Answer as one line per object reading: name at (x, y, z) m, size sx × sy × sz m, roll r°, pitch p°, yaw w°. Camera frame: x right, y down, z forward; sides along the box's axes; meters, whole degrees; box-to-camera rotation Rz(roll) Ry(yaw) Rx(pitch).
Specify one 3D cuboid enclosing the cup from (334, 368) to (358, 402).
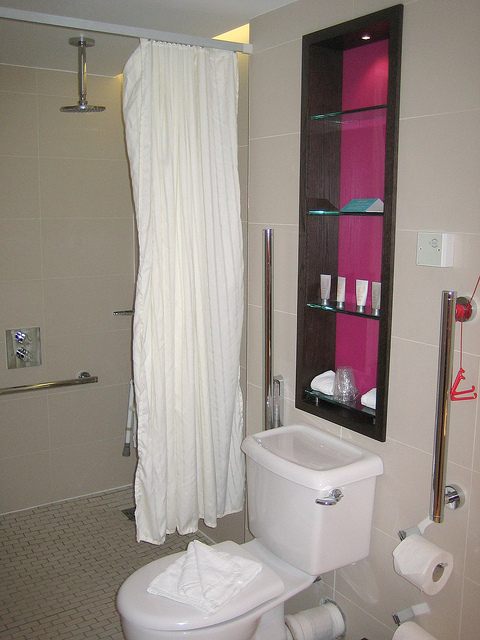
cup at (0.332, 0.201, 1.594) m, size 0.072 × 0.111 × 0.050 m, roll 4°, pitch 7°, yaw 15°

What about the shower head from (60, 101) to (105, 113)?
shower head at (-0.590, -0.792, 1.898) m, size 0.160 × 0.043 × 0.041 m, roll -1°, pitch 8°, yaw -23°

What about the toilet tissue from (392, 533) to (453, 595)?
toilet tissue at (0.458, 0.613, 1.279) m, size 0.114 × 0.123 × 0.123 m, roll -2°, pitch 9°, yaw -29°
